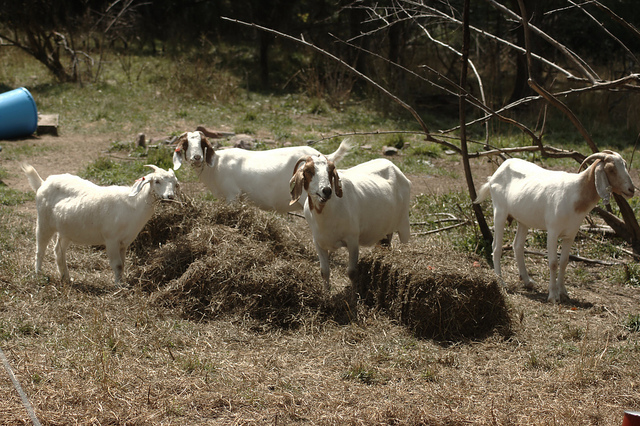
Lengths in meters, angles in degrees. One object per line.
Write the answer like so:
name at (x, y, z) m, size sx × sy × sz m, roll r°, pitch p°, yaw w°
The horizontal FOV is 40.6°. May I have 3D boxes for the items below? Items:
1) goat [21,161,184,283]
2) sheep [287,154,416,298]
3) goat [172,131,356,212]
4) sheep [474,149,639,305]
goat at (-4.218, 0.259, 16.860) m, size 3.440 × 2.512 × 1.248 m, roll 5°, pitch 10°, yaw 18°
sheep at (0.586, 0.117, 16.578) m, size 0.979 × 2.608 × 2.642 m, roll 14°, pitch 17°, yaw 40°
goat at (-1.232, -0.668, 18.606) m, size 3.648 × 2.102 × 1.127 m, roll 2°, pitch -3°, yaw 10°
sheep at (4.630, 0.110, 17.275) m, size 2.743 × 2.936 × 1.907 m, roll 10°, pitch 15°, yaw 28°
